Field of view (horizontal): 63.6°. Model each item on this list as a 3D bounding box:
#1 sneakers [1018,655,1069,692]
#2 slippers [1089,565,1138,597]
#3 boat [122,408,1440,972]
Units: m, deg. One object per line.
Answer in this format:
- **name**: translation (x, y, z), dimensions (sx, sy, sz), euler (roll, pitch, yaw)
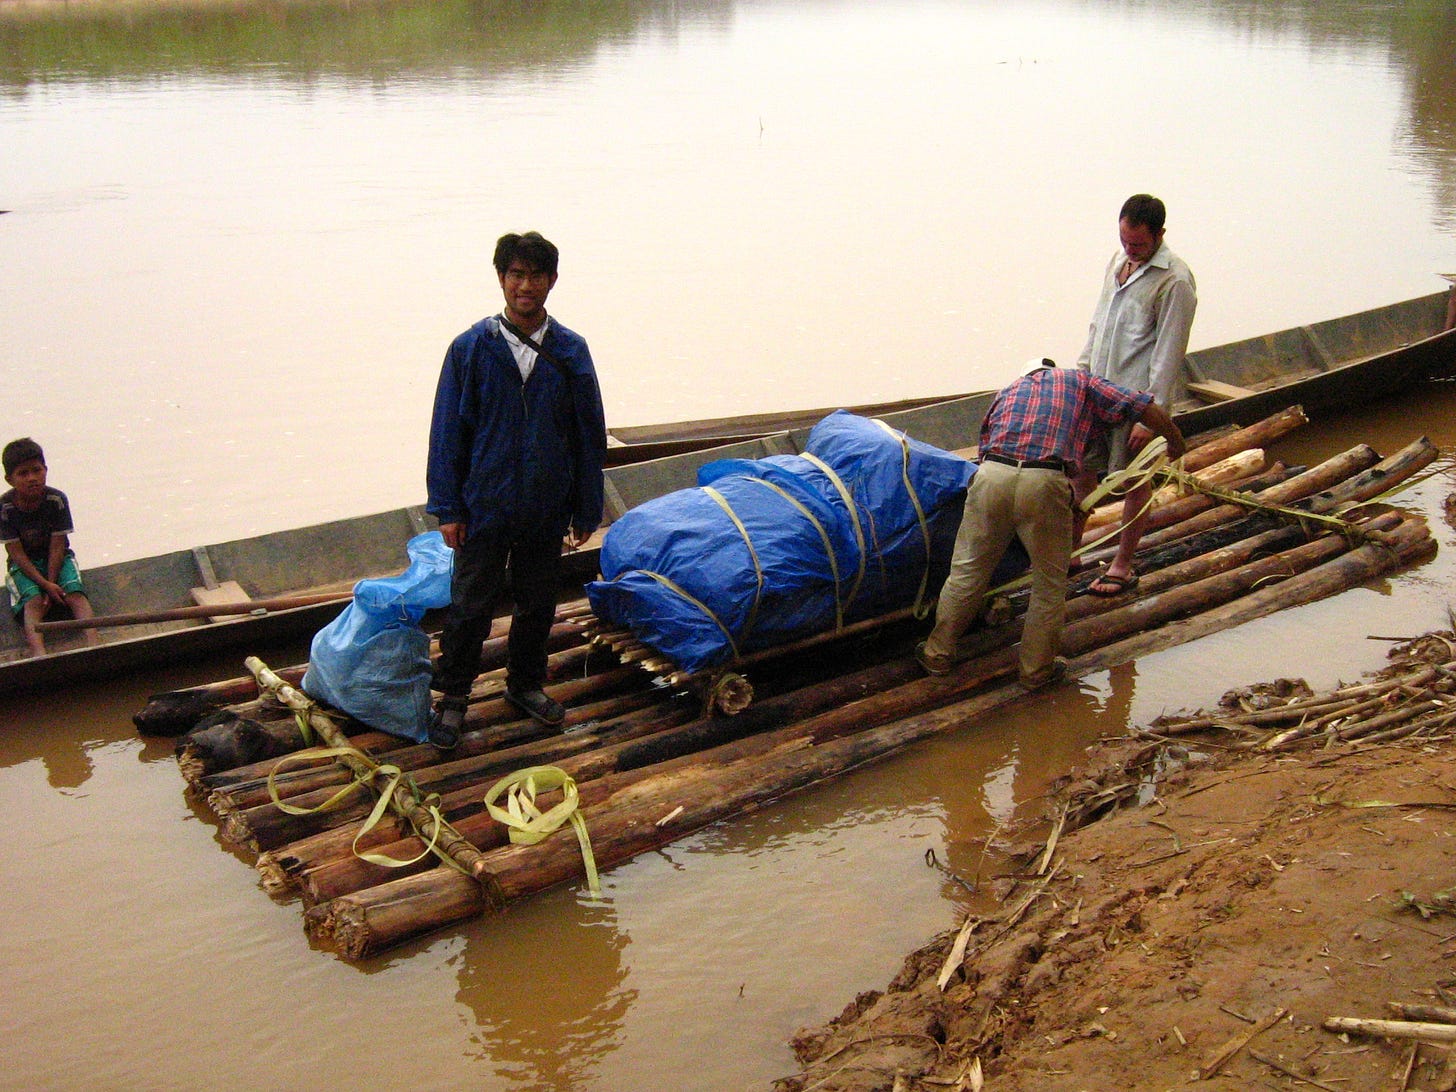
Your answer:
- **sneakers**: translation (1.763, 0.714, 6.586), dimensions (0.260, 0.152, 0.082), euler (-29, 48, -20)
- **slippers**: translation (2.429, 0.215, 7.356), dimensions (0.319, 0.100, 0.152), euler (-11, 23, -21)
- **boat**: translation (1.405, 0.936, 6.955), dimensions (8.199, 0.747, 2.634), euler (-13, 28, -25)
